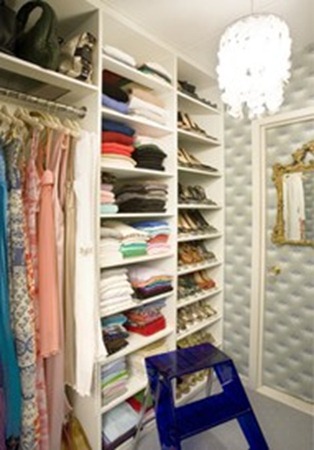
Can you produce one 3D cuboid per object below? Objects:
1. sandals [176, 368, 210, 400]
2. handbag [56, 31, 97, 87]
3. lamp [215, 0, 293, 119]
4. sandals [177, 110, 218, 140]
[{"bbox_3d":[0.234,1.109,2.432,0.180,0.083,0.332,-5,-10,10],"label":"sandals"},{"bbox_3d":[-0.386,-0.816,1.644,0.191,0.231,0.124,-3,2,-16],"label":"handbag"},{"bbox_3d":[0.476,-0.741,1.598,0.299,0.425,0.298,-3,2,-22],"label":"lamp"},{"bbox_3d":[0.270,-0.750,2.563,0.436,0.160,0.130,12,-5,-44],"label":"sandals"}]
